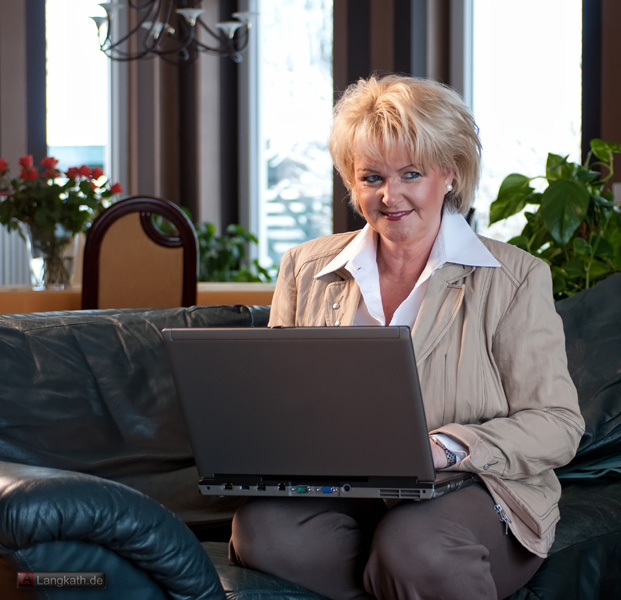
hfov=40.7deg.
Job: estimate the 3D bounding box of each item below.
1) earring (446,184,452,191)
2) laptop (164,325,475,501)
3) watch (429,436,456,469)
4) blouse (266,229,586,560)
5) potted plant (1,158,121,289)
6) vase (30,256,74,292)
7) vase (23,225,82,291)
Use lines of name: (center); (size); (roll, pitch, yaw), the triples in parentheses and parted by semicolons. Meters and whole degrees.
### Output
earring: (0.289, -0.236, 1.753); (0.010, 0.013, 0.003); (-1, 4, -35)
laptop: (-0.002, 0.183, 1.365); (0.435, 0.297, 0.177); (-2, 2, 10)
watch: (0.232, 0.267, 1.463); (0.042, 0.056, 0.014); (-2, 2, 9)
blouse: (0.210, 0.122, 1.783); (0.504, 0.643, 0.713); (1, 6, 10)
potted plant: (-0.956, -0.320, 3.251); (0.401, 0.527, 0.457); (4, 1, -4)
vase: (-0.973, -0.106, 3.143); (0.131, 0.120, 0.122); (-2, 4, -28)
vase: (-0.997, -0.155, 3.216); (0.181, 0.304, 0.223); (2, 2, -3)
